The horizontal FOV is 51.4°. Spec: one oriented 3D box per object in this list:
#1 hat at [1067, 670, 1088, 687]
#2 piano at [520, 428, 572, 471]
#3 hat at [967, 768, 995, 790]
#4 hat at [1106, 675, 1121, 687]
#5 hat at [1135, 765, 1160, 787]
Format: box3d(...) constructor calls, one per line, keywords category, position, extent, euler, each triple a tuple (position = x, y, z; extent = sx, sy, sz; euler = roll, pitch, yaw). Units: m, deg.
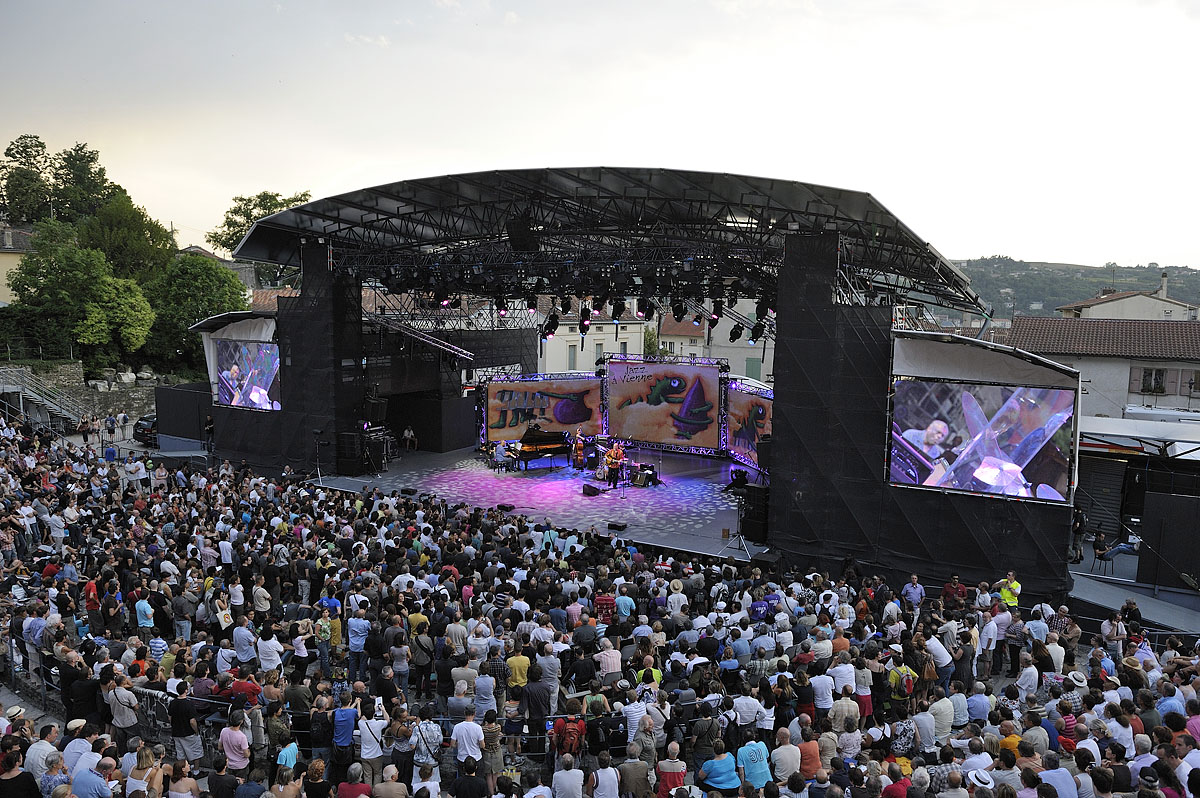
box3d(category="hat", position=(10.471, 6.172, 27.445), extent=(0.327, 0.093, 0.337), euler=(-37, 38, -24))
box3d(category="piano", position=(-2.211, 1.854, 47.766), extent=(1.925, 1.276, 1.321), euler=(-2, 3, -39))
box3d(category="hat", position=(7.745, 7.733, 25.354), extent=(0.558, 0.384, 0.364), euler=(1, 3, 7))
box3d(category="hat", position=(11.373, 6.246, 27.688), extent=(0.333, 0.156, 0.265), euler=(1, 3, 5))
box3d(category="hat", position=(11.154, 7.652, 25.353), extent=(0.399, 0.350, 0.336), euler=(2, 4, 21))
